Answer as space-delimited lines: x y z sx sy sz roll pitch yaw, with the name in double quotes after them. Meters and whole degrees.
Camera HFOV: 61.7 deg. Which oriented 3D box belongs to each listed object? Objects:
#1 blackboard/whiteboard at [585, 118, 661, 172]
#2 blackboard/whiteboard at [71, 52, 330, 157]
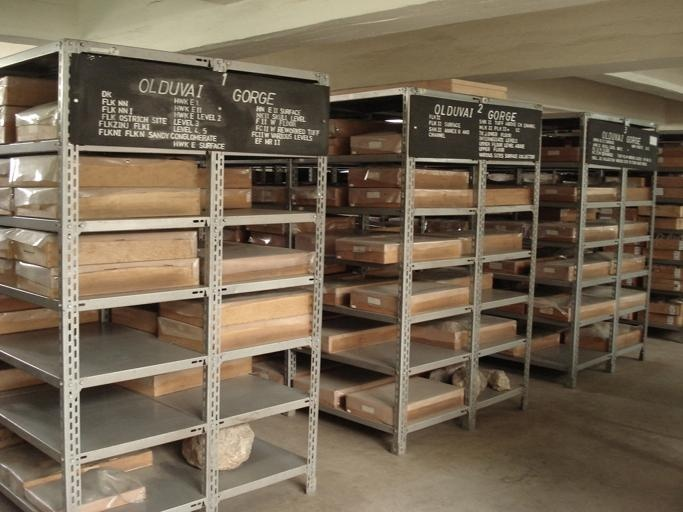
3.059 -1.173 6.180 0.063 0.424 1.832 1 8 42 "blackboard/whiteboard"
-0.756 -0.852 3.235 1.903 0.420 0.032 14 26 32 "blackboard/whiteboard"
